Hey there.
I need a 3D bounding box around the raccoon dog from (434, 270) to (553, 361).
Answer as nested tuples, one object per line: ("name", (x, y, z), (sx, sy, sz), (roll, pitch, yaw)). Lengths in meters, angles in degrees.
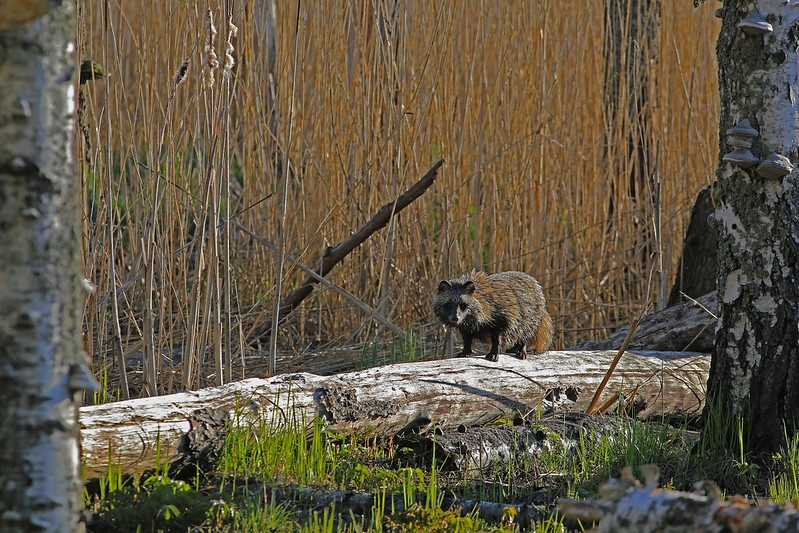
("raccoon dog", (0.829, 0.382, 14.658), (1.154, 0.756, 0.623), (-5, 8, -40))
